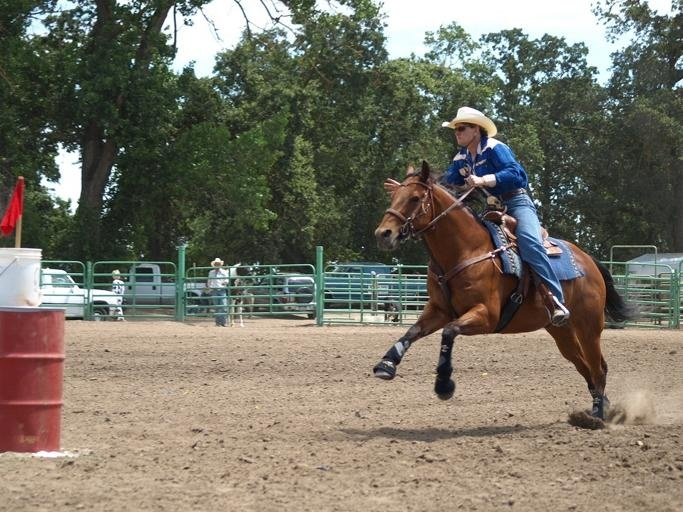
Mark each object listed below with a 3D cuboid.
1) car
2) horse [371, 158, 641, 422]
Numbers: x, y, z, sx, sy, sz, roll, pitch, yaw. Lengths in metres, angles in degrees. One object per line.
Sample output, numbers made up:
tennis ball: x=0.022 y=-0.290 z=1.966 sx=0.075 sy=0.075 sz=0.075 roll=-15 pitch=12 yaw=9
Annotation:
car: x=-7.677 y=1.299 z=39.463 sx=3.844 sy=1.641 sz=1.978 roll=-2 pitch=3 yaw=-14
horse: x=3.271 y=0.731 z=26.407 sx=5.210 sy=5.658 sz=1.945 roll=0 pitch=12 yaw=-2
